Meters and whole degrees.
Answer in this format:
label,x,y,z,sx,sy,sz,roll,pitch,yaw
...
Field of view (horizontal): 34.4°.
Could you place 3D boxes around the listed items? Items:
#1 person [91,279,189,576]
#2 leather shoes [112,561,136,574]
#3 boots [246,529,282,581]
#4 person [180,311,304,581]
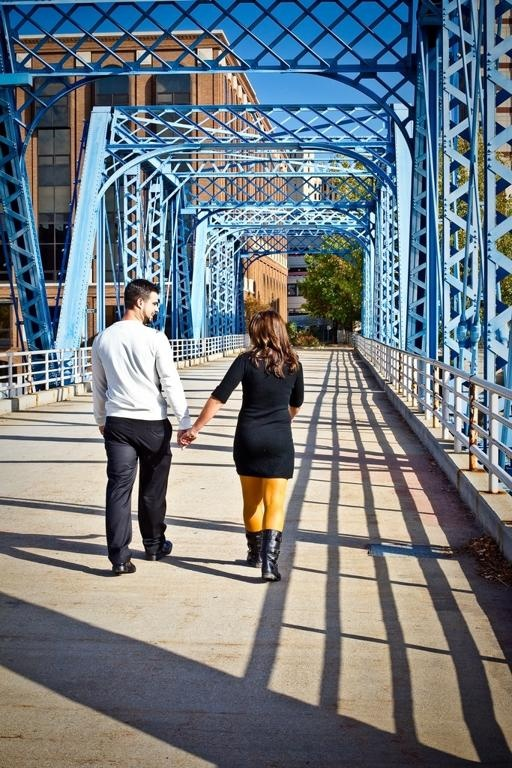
label,x,y,z,sx,sy,sz,roll,pitch,yaw
person,-0.752,0.255,5.415,0.606,1.875,0.643,0,2,-12
leather shoes,-0.820,1.156,5.161,0.059,0.083,0.181,1,2,15
boots,0.027,1.054,5.200,0.137,0.289,0.418,-4,-5,0
person,0.015,0.382,5.168,0.551,1.649,0.554,1,2,38
